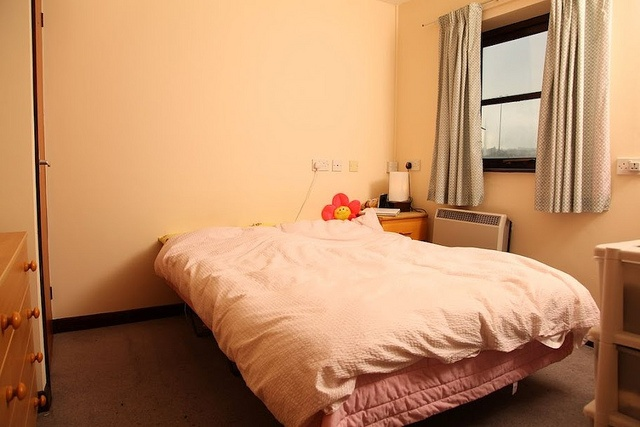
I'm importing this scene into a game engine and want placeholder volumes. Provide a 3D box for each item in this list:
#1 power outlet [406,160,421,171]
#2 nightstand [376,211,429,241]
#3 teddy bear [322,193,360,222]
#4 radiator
[{"bbox_3d":[0.942,-0.492,4.342,0.092,0.130,0.171,2,-1,-27],"label":"power outlet"},{"bbox_3d":[0.796,0.102,4.114,0.460,0.395,0.278,-3,6,-35],"label":"nightstand"},{"bbox_3d":[0.171,-0.066,3.911,0.313,0.218,0.372,5,11,20],"label":"teddy bear"},{"bbox_3d":[1.344,0.202,3.906,0.595,0.496,0.186,10,22,33],"label":"radiator"}]
